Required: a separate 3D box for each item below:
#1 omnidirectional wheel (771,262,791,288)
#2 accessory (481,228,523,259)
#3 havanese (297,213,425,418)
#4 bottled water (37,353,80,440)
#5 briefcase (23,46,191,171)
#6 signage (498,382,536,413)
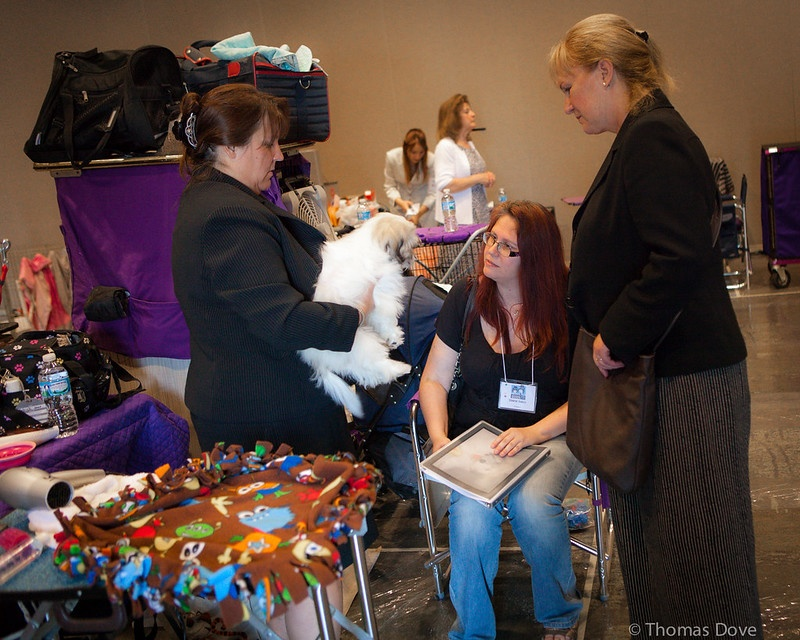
[{"bbox_3d":[3.549,-0.418,5.779,0.164,0.224,0.305,-3,7,33],"label":"omnidirectional wheel"},{"bbox_3d":[0.349,-0.277,2.306,0.087,0.108,0.192,-9,6,-21],"label":"accessory"},{"bbox_3d":[-0.110,0.009,2.014,0.309,0.623,0.371,3,22,6],"label":"havanese"},{"bbox_3d":[-1.333,0.290,2.444,0.134,0.361,0.128,-13,28,-34],"label":"bottled water"},{"bbox_3d":[-1.452,-1.033,3.087,0.592,0.701,0.717,-15,30,-34],"label":"briefcase"},{"bbox_3d":[0.427,0.277,2.251,0.138,0.107,0.039,7,3,17],"label":"signage"}]
